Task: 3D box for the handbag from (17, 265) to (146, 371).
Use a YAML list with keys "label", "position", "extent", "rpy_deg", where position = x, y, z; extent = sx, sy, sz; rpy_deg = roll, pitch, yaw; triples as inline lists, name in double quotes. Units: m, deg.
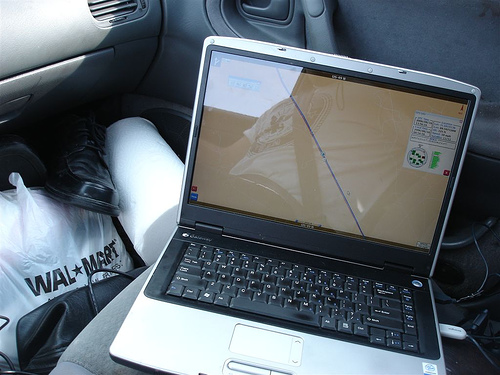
- label: "handbag"
  position: [-0.405, 0.322, 0.891]
  extent: [0.148, 0.205, 0.064]
  rpy_deg: [21, -35, 56]
